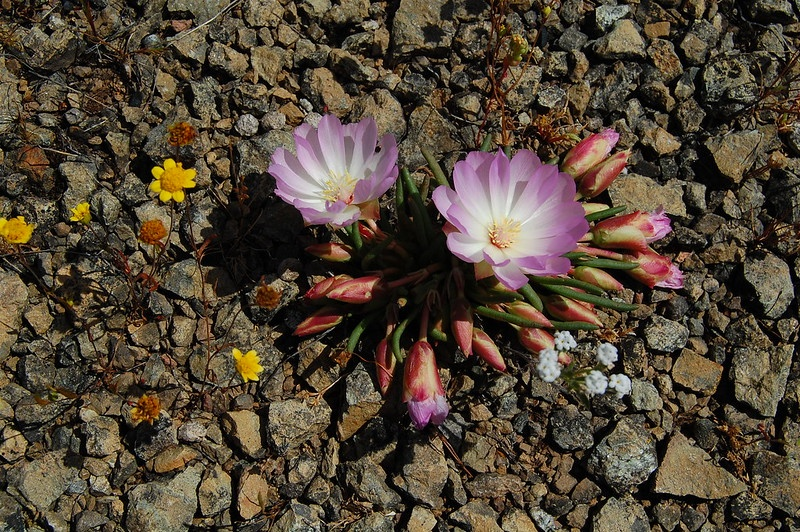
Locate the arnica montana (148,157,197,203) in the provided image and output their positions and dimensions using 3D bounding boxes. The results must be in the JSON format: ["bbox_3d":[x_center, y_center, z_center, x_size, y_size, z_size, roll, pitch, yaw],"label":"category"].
[{"bbox_3d":[-1.454,-0.572,4.594,0.285,0.098,0.319,-32,101,-6],"label":"arnica montana"}]

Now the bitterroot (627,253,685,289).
[{"bbox_3d":[1.712,0.042,4.699,0.351,0.167,0.216,25,70,-22],"label":"bitterroot"}]

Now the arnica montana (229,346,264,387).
[{"bbox_3d":[-1.009,0.648,4.484,0.259,0.328,0.131,-9,90,0],"label":"arnica montana"}]

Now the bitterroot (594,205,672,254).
[{"bbox_3d":[1.507,-0.227,4.614,0.419,0.271,0.220,-7,79,-2],"label":"bitterroot"}]
